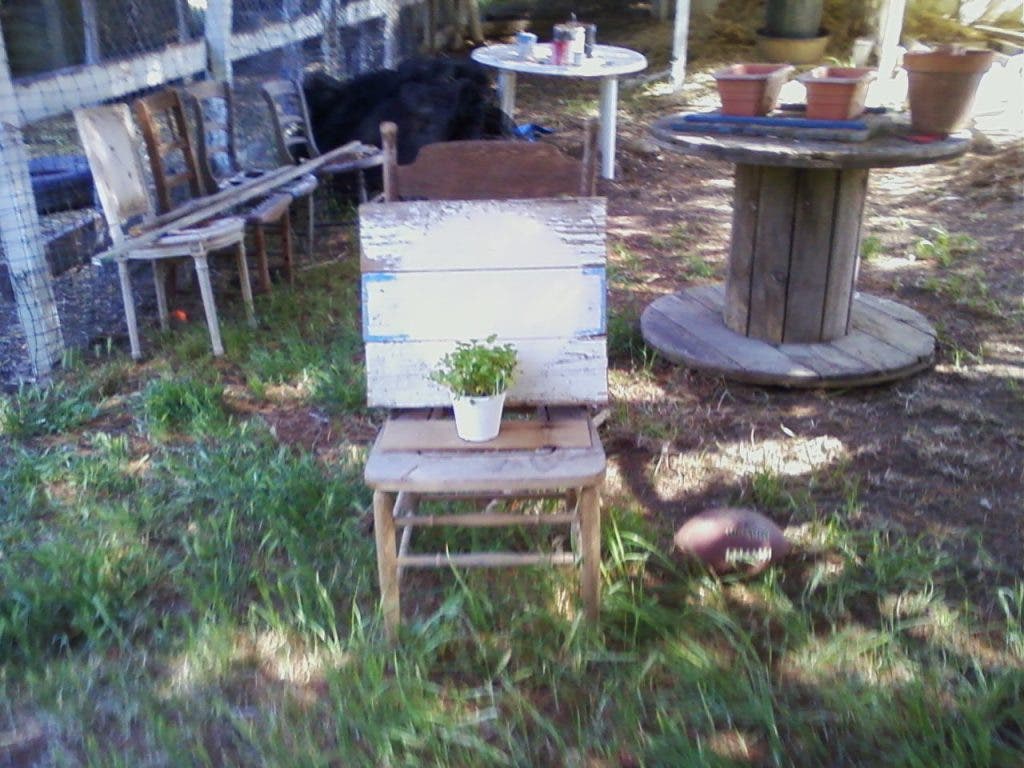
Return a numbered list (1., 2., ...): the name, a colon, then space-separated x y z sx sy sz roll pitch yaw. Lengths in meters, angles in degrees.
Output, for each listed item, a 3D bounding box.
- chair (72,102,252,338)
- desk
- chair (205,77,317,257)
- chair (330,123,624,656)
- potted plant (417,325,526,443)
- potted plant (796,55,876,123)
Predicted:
1. chair: -1.841 -0.872 4.519 0.677 1.288 0.636 4 24 9
2. desk: 1.396 -0.651 4.239 1.382 1.133 1.444 14 25 32
3. chair: -1.700 -1.394 5.488 0.642 1.220 0.803 -25 37 -38
4. chair: -0.102 -0.059 2.957 0.965 1.585 1.030 0 24 0
5. potted plant: -0.110 0.010 2.766 0.263 0.299 0.214 -1 24 -1
6. potted plant: 1.583 -1.453 4.026 0.317 0.221 0.387 12 29 23
